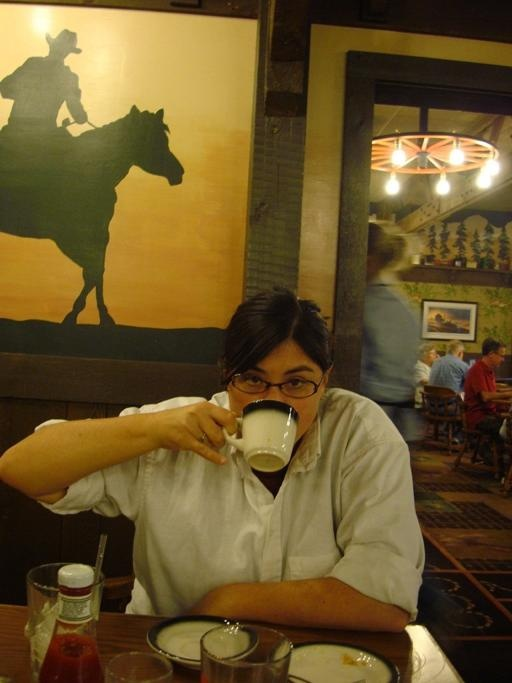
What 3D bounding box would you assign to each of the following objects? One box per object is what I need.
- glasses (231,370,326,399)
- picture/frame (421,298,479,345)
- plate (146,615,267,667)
[{"bbox_3d":[0.041,0.088,1.225,0.179,0.055,0.045,2,7,-1],"label":"glasses"},{"bbox_3d":[1.705,-0.172,5.208,0.419,0.296,0.014,5,-20,-20],"label":"picture/frame"},{"bbox_3d":[-0.101,0.456,0.904,0.114,0.027,0.116,-4,-7,7],"label":"plate"}]
